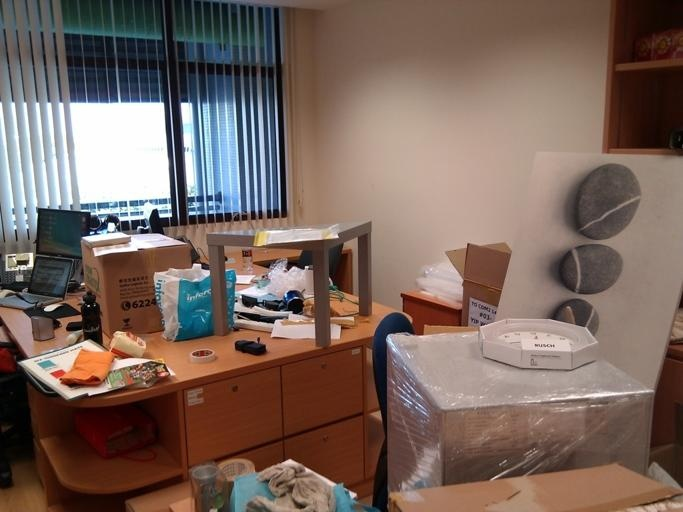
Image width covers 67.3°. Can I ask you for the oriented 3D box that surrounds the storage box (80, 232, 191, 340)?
[{"bbox_3d":[-1.079,0.050,2.882,0.489,0.623,0.614,5,9,39],"label":"storage box"}]

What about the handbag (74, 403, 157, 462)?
[{"bbox_3d":[-1.074,0.792,2.452,0.403,0.153,0.251,9,18,44],"label":"handbag"}]

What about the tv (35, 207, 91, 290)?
[{"bbox_3d":[-1.869,-0.036,3.456,0.512,0.625,0.233,2,-1,17],"label":"tv"}]

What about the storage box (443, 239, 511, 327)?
[{"bbox_3d":[0.882,0.146,3.323,0.476,0.525,0.481,0,5,23],"label":"storage box"}]
